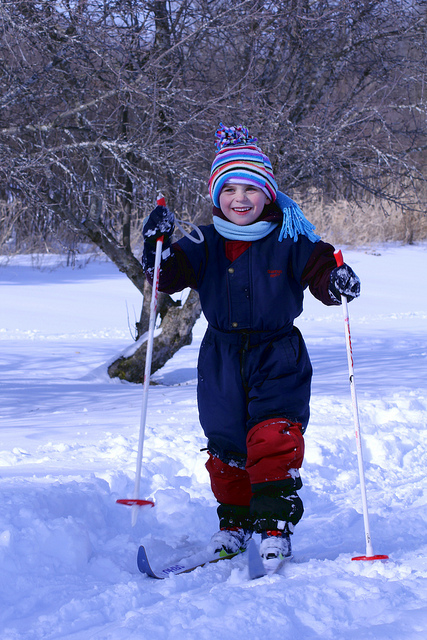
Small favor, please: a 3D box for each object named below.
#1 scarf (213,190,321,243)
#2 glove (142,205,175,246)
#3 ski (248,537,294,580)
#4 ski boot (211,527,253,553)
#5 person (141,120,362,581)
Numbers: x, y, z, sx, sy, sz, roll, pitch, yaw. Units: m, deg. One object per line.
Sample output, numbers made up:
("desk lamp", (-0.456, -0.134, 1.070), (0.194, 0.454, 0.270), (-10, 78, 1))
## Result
("scarf", (0.224, -0.443, 2.823), (0.440, 0.236, 0.235), (1, 3, -3))
("glove", (-0.222, -0.386, 2.723), (0.129, 0.156, 0.064), (4, 10, -18))
("ski", (0.198, 0.863, 2.387), (0.149, 0.088, 0.311), (2, 3, 10))
("ski boot", (0.081, 0.907, 2.737), (0.068, 0.079, 0.189), (-3, -11, 33))
("person", (0.144, 0.063, 2.727), (0.810, 1.819, 0.602), (4, 4, 35))
